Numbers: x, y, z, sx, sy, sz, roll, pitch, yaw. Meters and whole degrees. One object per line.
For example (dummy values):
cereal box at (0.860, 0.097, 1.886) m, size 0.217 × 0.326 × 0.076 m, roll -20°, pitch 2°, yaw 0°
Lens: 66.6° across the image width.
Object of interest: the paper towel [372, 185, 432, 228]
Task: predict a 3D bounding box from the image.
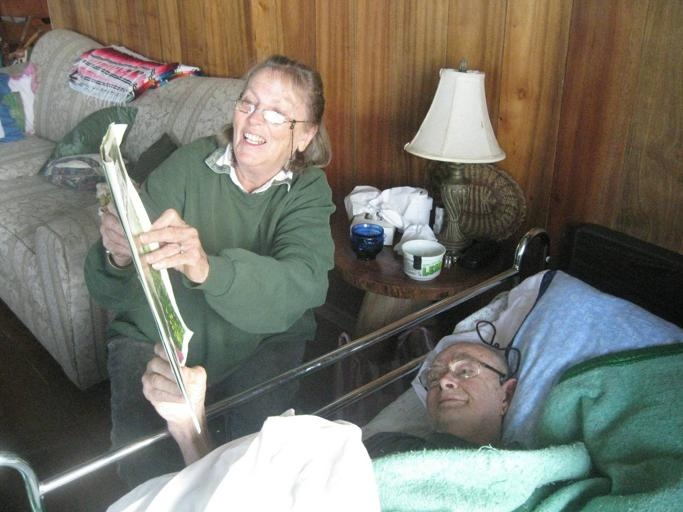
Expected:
paper towel at (0.223, -0.186, 1.973) m, size 0.182 × 0.114 × 0.179 m, roll 5°, pitch 22°, yaw -10°

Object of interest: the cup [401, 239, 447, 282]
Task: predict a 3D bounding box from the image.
cup at (0.269, 0.003, 1.768) m, size 0.149 × 0.092 × 0.137 m, roll 1°, pitch 26°, yaw -1°

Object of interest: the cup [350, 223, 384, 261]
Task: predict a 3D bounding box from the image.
cup at (0.091, -0.058, 1.907) m, size 0.128 × 0.096 × 0.123 m, roll 2°, pitch 17°, yaw -1°

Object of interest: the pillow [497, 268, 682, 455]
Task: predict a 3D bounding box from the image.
pillow at (0.593, 0.289, 1.329) m, size 0.351 × 0.261 × 0.443 m, roll 25°, pitch 35°, yaw 37°
